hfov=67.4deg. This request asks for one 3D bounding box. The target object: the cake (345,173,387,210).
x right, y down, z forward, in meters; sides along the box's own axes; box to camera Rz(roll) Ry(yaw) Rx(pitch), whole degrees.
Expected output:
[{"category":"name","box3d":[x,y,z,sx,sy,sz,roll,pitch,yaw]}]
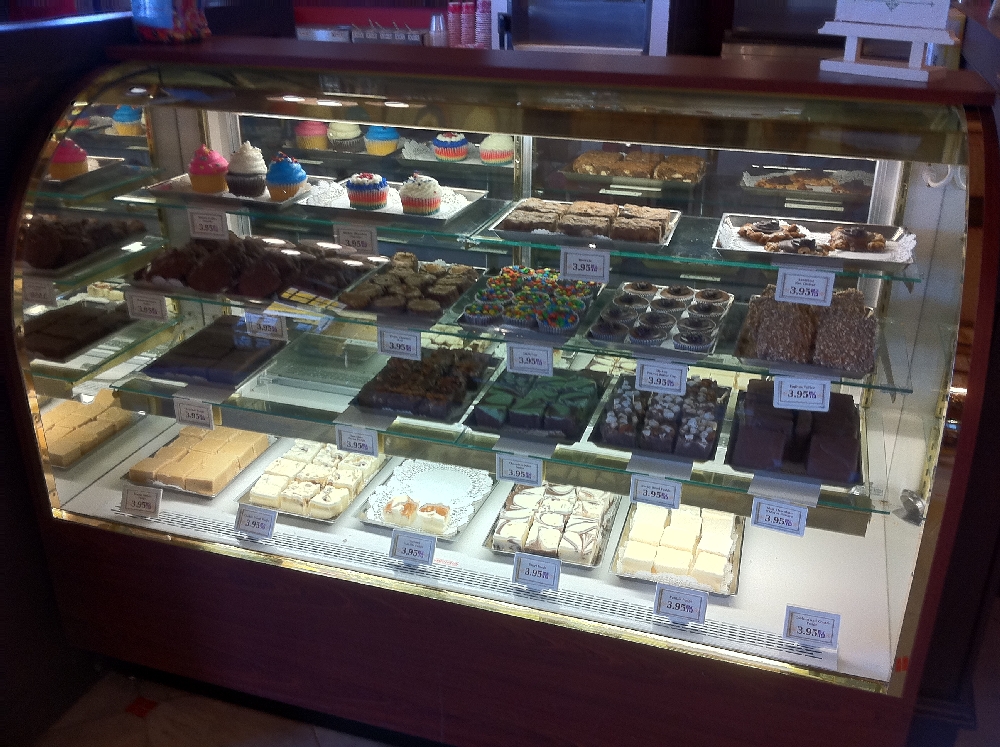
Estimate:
[{"category":"cake","box3d":[-0.398,-0.540,2.226,0.118,0.077,0.112,-1,23,-6]}]

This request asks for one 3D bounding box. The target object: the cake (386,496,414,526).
[{"category":"cake","box3d":[-0.348,0.475,2.630,0.093,0.054,0.092,13,35,12]}]

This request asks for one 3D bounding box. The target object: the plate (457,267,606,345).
[{"category":"plate","box3d":[0.081,-0.222,2.305,0.306,0.078,0.296,9,35,17]}]

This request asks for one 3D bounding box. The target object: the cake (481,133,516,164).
[{"category":"cake","box3d":[-0.011,-0.663,2.212,0.082,0.074,0.060,19,10,-5]}]

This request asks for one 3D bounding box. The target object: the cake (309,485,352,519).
[{"category":"cake","box3d":[-0.600,0.450,2.647,0.099,0.054,0.122,9,27,14]}]

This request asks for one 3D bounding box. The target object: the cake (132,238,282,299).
[{"category":"cake","box3d":[-0.907,-0.342,2.408,0.356,0.096,0.249,10,32,12]}]

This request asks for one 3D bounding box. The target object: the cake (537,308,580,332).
[{"category":"cake","box3d":[0.170,-0.159,2.230,0.088,0.026,0.083,-2,22,-6]}]

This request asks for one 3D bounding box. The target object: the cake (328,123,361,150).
[{"category":"cake","box3d":[-0.462,-0.703,2.217,0.092,0.072,0.085,-6,36,-12]}]

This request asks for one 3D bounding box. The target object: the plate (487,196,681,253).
[{"category":"plate","box3d":[0.236,-0.431,2.116,0.385,0.048,0.211,8,33,15]}]

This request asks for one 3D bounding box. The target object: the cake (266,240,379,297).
[{"category":"cake","box3d":[-0.596,-0.341,2.398,0.279,0.075,0.193,16,36,21]}]

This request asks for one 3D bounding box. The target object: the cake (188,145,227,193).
[{"category":"cake","box3d":[-0.897,-0.629,2.306,0.143,0.133,0.137,1,18,-2]}]

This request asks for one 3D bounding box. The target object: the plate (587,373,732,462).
[{"category":"plate","box3d":[0.467,0.135,2.218,0.302,0.073,0.285,8,39,18]}]

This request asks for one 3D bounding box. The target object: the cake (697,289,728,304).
[{"category":"cake","box3d":[0.635,-0.232,2.241,0.060,0.033,0.056,5,19,9]}]

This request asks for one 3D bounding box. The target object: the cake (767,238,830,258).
[{"category":"cake","box3d":[0.792,-0.335,1.985,0.148,0.036,0.108,21,27,37]}]

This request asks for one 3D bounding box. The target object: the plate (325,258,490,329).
[{"category":"plate","box3d":[-0.308,-0.265,2.355,0.296,0.064,0.282,12,42,21]}]

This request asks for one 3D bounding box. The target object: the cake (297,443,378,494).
[{"category":"cake","box3d":[-0.634,0.348,2.811,0.235,0.053,0.234,10,23,12]}]

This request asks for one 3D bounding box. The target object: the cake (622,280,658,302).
[{"category":"cake","box3d":[0.434,-0.258,2.304,0.081,0.027,0.079,-19,40,-35]}]

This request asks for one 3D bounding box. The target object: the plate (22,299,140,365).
[{"category":"plate","box3d":[-1.416,-0.146,2.483,0.203,0.055,0.291,20,35,27]}]

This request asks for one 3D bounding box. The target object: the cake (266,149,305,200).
[{"category":"cake","box3d":[-0.643,-0.597,2.265,0.135,0.120,0.127,-1,22,-8]}]

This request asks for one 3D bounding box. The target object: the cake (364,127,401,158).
[{"category":"cake","box3d":[-0.348,-0.679,2.190,0.083,0.054,0.079,8,19,19]}]

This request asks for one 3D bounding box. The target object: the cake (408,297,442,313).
[{"category":"cake","box3d":[-0.235,-0.210,2.303,0.056,0.016,0.072,-9,21,-13]}]

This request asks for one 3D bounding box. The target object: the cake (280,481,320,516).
[{"category":"cake","box3d":[-0.711,0.443,2.672,0.111,0.066,0.105,7,31,10]}]

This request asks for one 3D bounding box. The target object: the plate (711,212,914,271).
[{"category":"plate","box3d":[0.848,-0.357,2.016,0.410,0.039,0.215,6,31,14]}]

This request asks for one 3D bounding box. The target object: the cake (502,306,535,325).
[{"category":"cake","box3d":[0.060,-0.175,2.265,0.070,0.021,0.068,4,30,4]}]

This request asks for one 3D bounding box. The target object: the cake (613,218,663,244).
[{"category":"cake","box3d":[0.378,-0.391,2.057,0.132,0.040,0.069,4,37,8]}]

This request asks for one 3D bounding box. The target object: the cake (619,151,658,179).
[{"category":"cake","box3d":[0.389,-0.591,2.131,0.076,0.065,0.019,6,-3,3]}]

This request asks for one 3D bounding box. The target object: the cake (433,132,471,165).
[{"category":"cake","box3d":[-0.154,-0.663,2.207,0.083,0.055,0.077,0,33,1]}]

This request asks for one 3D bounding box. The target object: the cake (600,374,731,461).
[{"category":"cake","box3d":[0.486,0.127,2.274,0.361,0.141,0.286,9,23,15]}]

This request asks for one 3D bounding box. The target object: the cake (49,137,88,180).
[{"category":"cake","box3d":[-1.286,-0.643,2.243,0.047,0.127,0.128,12,24,18]}]

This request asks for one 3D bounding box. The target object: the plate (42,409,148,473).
[{"category":"plate","box3d":[-1.547,0.228,2.847,0.189,0.043,0.335,18,29,18]}]

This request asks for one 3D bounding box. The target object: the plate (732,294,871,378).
[{"category":"plate","box3d":[0.839,-0.077,2.061,0.290,0.062,0.274,7,33,16]}]

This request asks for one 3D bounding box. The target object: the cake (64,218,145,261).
[{"category":"cake","box3d":[-1.299,-0.414,2.422,0.169,0.045,0.160,8,22,25]}]

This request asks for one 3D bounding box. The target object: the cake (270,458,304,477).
[{"category":"cake","box3d":[-0.800,0.353,2.795,0.073,0.019,0.074,8,26,12]}]

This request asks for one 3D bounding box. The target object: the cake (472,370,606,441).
[{"category":"cake","box3d":[0.117,0.098,2.314,0.269,0.061,0.260,8,34,17]}]

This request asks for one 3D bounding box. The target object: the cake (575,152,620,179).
[{"category":"cake","box3d":[0.276,-0.604,2.157,0.086,0.021,0.081,-15,31,-25]}]

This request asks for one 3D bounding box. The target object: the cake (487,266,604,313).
[{"category":"cake","box3d":[0.103,-0.263,2.338,0.265,0.074,0.173,15,24,33]}]

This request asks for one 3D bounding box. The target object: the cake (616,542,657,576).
[{"category":"cake","box3d":[0.433,0.602,2.424,0.108,0.047,0.101,4,35,14]}]

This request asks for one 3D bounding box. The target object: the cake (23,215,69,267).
[{"category":"cake","box3d":[-1.392,-0.392,2.266,0.104,0.125,0.045,3,12,-18]}]

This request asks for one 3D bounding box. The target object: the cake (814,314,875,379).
[{"category":"cake","box3d":[0.926,-0.080,2.017,0.155,0.159,0.098,7,23,9]}]

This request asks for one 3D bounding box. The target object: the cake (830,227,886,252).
[{"category":"cake","box3d":[0.961,-0.361,2.011,0.140,0.050,0.173,12,23,21]}]

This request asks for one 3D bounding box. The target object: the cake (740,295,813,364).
[{"category":"cake","box3d":[0.757,-0.112,2.054,0.204,0.186,0.059,9,2,30]}]

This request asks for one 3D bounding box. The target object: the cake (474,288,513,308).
[{"category":"cake","box3d":[-0.020,-0.241,2.338,0.078,0.025,0.073,-4,29,-10]}]

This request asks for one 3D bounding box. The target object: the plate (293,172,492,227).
[{"category":"plate","box3d":[-0.357,-0.505,2.241,0.398,0.039,0.225,6,28,9]}]

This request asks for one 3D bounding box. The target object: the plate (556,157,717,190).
[{"category":"plate","box3d":[0.388,-0.570,2.136,0.274,0.042,0.149,7,27,15]}]

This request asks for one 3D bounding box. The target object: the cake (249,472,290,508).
[{"category":"cake","box3d":[-0.839,0.417,2.712,0.119,0.049,0.111,4,31,6]}]

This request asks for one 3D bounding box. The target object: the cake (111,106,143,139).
[{"category":"cake","box3d":[-1.124,-0.765,2.256,0.076,0.072,0.077,39,54,23]}]

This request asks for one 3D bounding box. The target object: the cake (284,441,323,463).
[{"category":"cake","box3d":[-0.763,0.300,2.891,0.128,0.031,0.130,8,28,13]}]

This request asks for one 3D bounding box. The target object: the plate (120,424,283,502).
[{"category":"plate","box3d":[-1.149,0.318,2.812,0.367,0.066,0.352,8,29,13]}]

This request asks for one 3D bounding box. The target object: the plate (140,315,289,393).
[{"category":"plate","box3d":[-0.968,-0.074,2.519,0.283,0.052,0.272,15,39,26]}]

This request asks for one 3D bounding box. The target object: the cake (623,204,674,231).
[{"category":"cake","box3d":[0.408,-0.446,2.107,0.105,0.027,0.099,14,27,25]}]

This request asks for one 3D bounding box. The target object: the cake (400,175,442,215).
[{"category":"cake","box3d":[-0.233,-0.521,2.198,0.123,0.096,0.115,-3,28,-11]}]

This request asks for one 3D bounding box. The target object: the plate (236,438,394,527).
[{"category":"plate","box3d":[-0.684,0.386,2.748,0.349,0.087,0.376,9,25,16]}]

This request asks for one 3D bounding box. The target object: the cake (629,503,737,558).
[{"category":"cake","box3d":[0.613,0.522,2.546,0.325,0.067,0.207,10,33,18]}]

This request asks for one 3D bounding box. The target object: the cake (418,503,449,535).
[{"category":"cake","box3d":[-0.237,0.496,2.591,0.102,0.057,0.096,8,29,12]}]

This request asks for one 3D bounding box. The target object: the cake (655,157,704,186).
[{"category":"cake","box3d":[0.493,-0.564,2.075,0.141,0.085,0.071,8,23,12]}]

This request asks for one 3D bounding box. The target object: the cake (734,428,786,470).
[{"category":"cake","box3d":[0.734,0.215,2.114,0.144,0.110,0.062,7,23,9]}]
